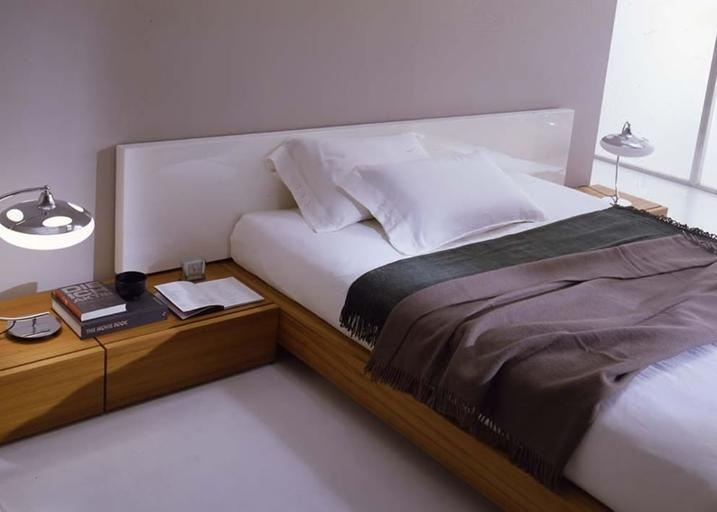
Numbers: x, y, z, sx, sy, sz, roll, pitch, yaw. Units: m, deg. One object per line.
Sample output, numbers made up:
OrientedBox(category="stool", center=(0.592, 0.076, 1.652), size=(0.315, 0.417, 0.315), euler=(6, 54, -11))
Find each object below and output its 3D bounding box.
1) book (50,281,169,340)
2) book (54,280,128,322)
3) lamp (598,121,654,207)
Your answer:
OrientedBox(category="book", center=(-1.093, 0.256, 2.250), size=(0.309, 0.067, 0.315), euler=(-14, 32, -35))
OrientedBox(category="book", center=(-1.191, 0.167, 2.261), size=(0.230, 0.313, 0.033), euler=(-9, 56, -10))
OrientedBox(category="lamp", center=(2.183, -0.755, 4.079), size=(0.411, 0.654, 0.418), euler=(-20, 27, -24))
